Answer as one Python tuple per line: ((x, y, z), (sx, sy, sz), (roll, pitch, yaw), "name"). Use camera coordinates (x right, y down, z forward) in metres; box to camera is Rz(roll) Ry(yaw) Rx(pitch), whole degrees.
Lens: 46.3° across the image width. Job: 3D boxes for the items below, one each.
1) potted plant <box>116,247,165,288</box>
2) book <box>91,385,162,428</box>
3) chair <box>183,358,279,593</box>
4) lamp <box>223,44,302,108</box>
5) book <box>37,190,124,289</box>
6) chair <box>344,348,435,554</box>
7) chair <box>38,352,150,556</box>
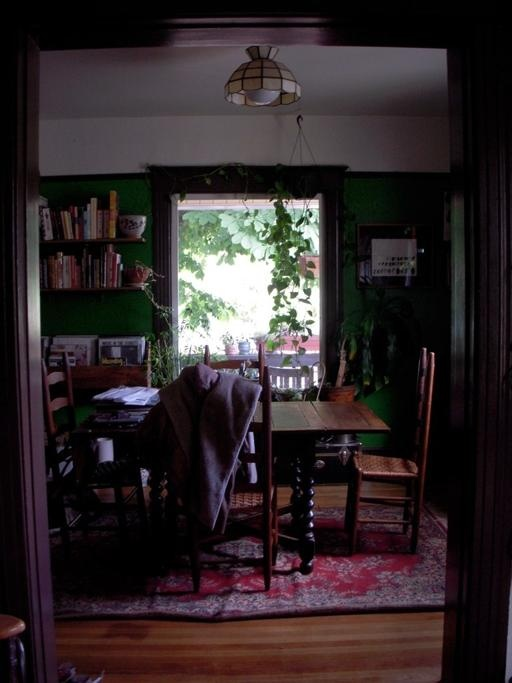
((-0.814, -0.490, 4.158), (0.212, 0.185, 0.254), (2, -7, 3), "potted plant")
((-0.553, 0.284, 2.605), (0.210, 0.085, 0.330), (0, 5, -1), "book")
((-0.085, 0.524, 2.598), (0.358, 0.951, 0.964), (0, 4, 1), "chair")
((0.036, -1.300, 2.947), (0.355, 0.260, 0.372), (-1, 8, 3), "lamp")
((-1.150, -0.588, 4.207), (0.515, 0.879, 0.672), (0, 0, -6), "book")
((0.647, 0.546, 2.919), (0.404, 1.002, 0.438), (3, -1, -9), "chair")
((-0.759, 0.567, 2.874), (0.451, 1.055, 0.838), (-1, 2, -7), "chair")
